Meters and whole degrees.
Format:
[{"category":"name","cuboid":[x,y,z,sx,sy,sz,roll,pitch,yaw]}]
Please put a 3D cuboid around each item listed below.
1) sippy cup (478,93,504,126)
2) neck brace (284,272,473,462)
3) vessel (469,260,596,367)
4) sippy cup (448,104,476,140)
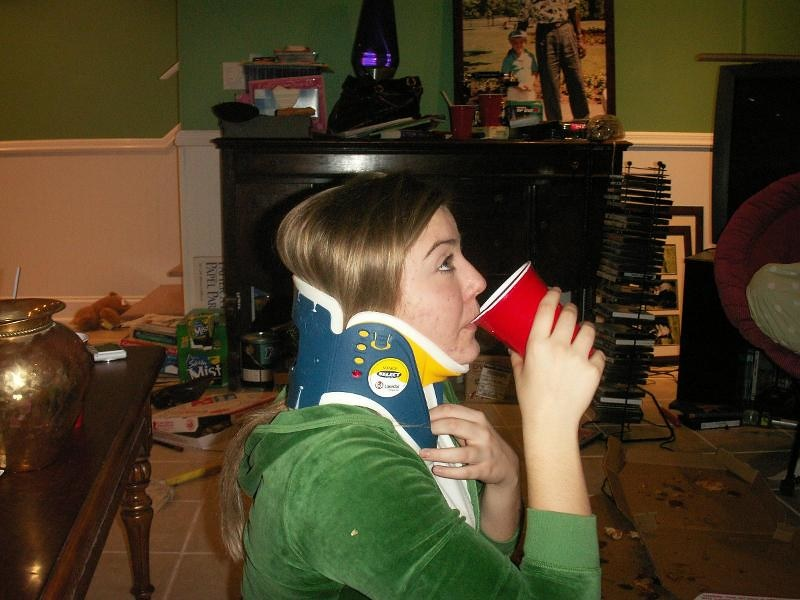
[{"category":"sippy cup","cuboid":[0.400,-0.826,2.881,0.142,0.125,0.142,0,20,0]},{"category":"neck brace","cuboid":[-0.034,0.118,1.142,0.313,0.269,0.255,5,0,24]},{"category":"vessel","cuboid":[0.215,0.046,1.190,0.193,0.164,0.167,34,1,14]},{"category":"sippy cup","cuboid":[0.281,-0.753,2.814,0.163,0.139,0.143,3,17,9]}]
